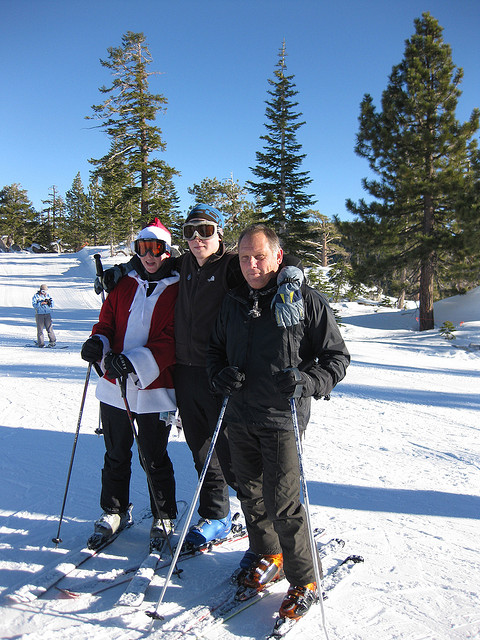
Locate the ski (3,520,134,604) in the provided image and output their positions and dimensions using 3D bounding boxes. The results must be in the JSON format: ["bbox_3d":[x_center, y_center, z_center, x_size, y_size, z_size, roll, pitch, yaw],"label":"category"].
[{"bbox_3d":[-1.081,1.553,3.672,0.139,0.095,1.167,9,6,15],"label":"ski"}]

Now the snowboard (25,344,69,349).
[{"bbox_3d":[-4.172,0.574,12.232,1.006,0.036,0.567,4,7,10],"label":"snowboard"}]

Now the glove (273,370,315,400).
[{"bbox_3d":[0.293,0.348,3.055,0.208,0.138,0.095,2,-16,10],"label":"glove"}]

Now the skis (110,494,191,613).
[{"bbox_3d":[-0.585,1.544,3.727,0.112,0.049,0.968,21,8,1],"label":"skis"}]

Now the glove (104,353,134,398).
[{"bbox_3d":[-0.774,0.352,3.668,0.171,0.266,0.134,0,7,-22],"label":"glove"}]

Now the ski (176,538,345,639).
[{"bbox_3d":[0.127,1.596,3.335,1.181,0.057,0.172,-23,6,-34],"label":"ski"}]

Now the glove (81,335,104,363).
[{"bbox_3d":[-0.974,0.199,3.806,0.125,0.176,0.250,3,7,0],"label":"glove"}]

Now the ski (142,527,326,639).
[{"bbox_3d":[0.038,1.519,3.587,1.438,0.144,0.170,-20,8,-43],"label":"ski"}]

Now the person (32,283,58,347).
[{"bbox_3d":[-4.234,-0.102,12.488,0.495,1.345,1.014,0,7,-17],"label":"person"}]

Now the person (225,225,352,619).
[{"bbox_3d":[0.236,0.546,3.307,0.695,2.181,0.516,5,7,19],"label":"person"}]

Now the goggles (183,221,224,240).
[{"bbox_3d":[-0.253,-0.600,3.804,0.247,0.125,0.145,2,7,-6],"label":"goggles"}]

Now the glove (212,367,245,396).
[{"bbox_3d":[-0.073,0.358,3.331,0.229,0.174,0.118,8,9,40],"label":"glove"}]

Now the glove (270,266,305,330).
[{"bbox_3d":[0.266,-0.110,3.211,0.165,0.348,0.175,8,-2,20],"label":"glove"}]
